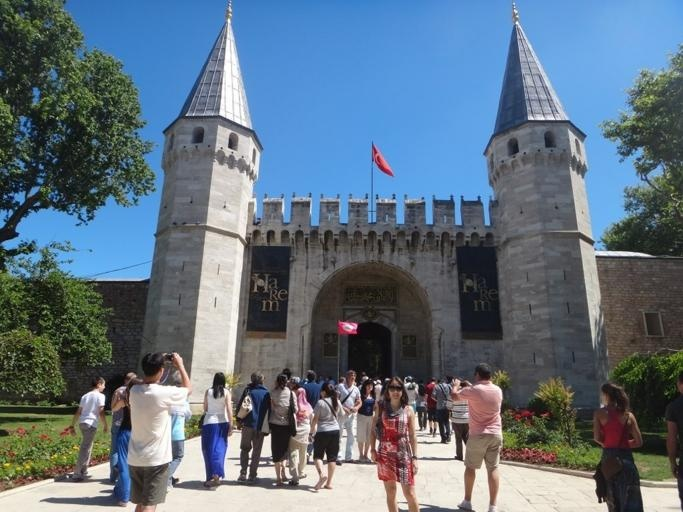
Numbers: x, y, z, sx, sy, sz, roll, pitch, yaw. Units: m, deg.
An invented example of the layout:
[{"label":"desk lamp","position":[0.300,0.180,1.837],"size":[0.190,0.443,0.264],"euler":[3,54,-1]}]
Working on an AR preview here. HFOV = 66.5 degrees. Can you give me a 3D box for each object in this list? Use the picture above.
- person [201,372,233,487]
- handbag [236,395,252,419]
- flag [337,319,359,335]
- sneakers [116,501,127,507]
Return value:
[{"label":"person","position":[-2.761,3.828,11.514],"size":[0.624,2.387,0.832],"euler":[4,-15,-13]},{"label":"handbag","position":[-2.160,3.429,11.795],"size":[0.333,0.539,0.160],"euler":[3,-15,-9]},{"label":"flag","position":[0.266,3.466,25.390],"size":[1.090,0.836,0.162],"euler":[2,-38,4]},{"label":"sneakers","position":[-4.350,4.927,10.379],"size":[0.201,0.096,0.084],"euler":[2,-15,-3]}]
